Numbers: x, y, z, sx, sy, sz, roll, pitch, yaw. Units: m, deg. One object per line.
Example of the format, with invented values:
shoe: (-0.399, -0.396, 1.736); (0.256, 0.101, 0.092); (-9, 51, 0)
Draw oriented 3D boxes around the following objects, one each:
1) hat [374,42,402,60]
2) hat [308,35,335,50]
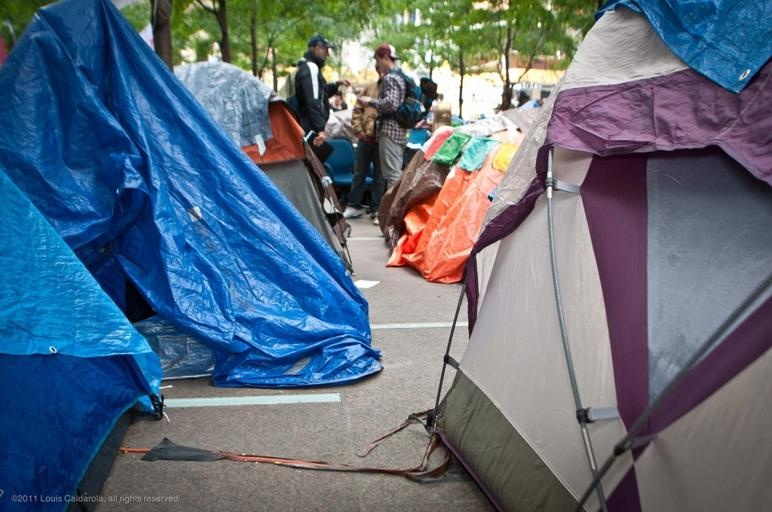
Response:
hat: (0.019, -2.632, 8.690); (0.282, 0.152, 0.193); (-10, 42, -21)
hat: (-0.790, -2.662, 8.330); (0.356, 0.196, 0.263); (-8, 29, -19)
